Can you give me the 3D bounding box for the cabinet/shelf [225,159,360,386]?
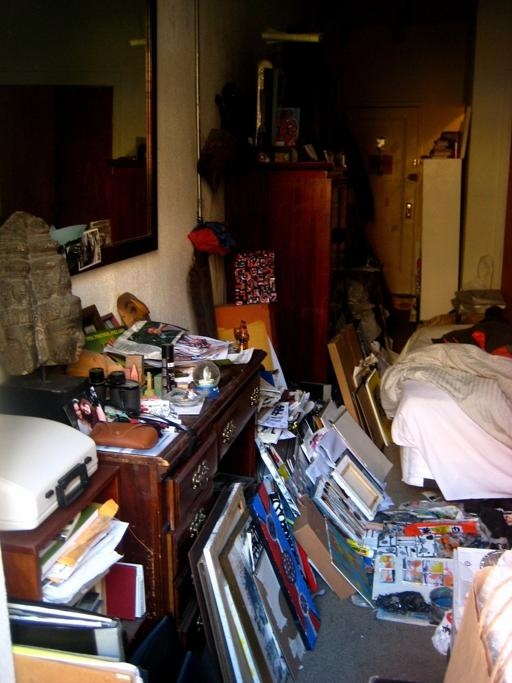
[{"bbox_3d":[0.482,-0.650,3.968,0.529,1.597,0.902,9,32,23],"label":"cabinet/shelf"}]
